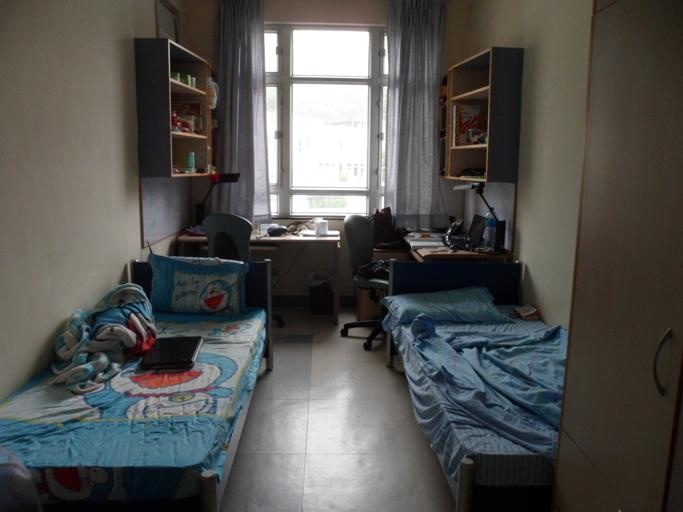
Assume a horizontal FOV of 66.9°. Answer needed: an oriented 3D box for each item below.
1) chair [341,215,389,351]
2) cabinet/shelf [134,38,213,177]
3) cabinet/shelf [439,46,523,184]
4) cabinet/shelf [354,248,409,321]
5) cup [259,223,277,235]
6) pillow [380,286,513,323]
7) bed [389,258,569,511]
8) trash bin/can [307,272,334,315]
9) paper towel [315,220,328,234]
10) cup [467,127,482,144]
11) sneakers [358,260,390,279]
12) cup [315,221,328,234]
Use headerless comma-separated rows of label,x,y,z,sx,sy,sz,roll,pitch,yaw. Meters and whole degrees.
chair,0.181,0.176,4.356,0.391,0.995,0.796,2,13,4
cabinet/shelf,-1.288,-1.099,3.887,0.171,0.691,1.110,-1,15,-3
cabinet/shelf,1.109,-1.103,4.175,0.359,1.015,0.974,0,13,-2
cabinet/shelf,0.311,0.222,4.111,0.403,0.886,0.465,2,25,0
cup,-0.702,-0.257,4.808,0.147,0.112,0.109,-1,4,-15
pillow,0.679,0.343,3.433,0.519,0.159,0.339,-5,23,-9
bed,0.694,0.583,2.737,0.679,0.568,1.293,0,20,1
trash bin/can,-0.187,0.358,4.920,0.311,0.392,0.319,1,10,2
paper towel,-0.182,-0.256,4.649,0.074,0.094,0.116,1,-1,-44
cup,1.102,-0.993,4.276,0.156,0.176,0.092,0,2,6
sneakers,0.265,0.120,4.298,0.183,0.075,0.150,1,11,-4
cup,-0.191,-0.249,4.642,0.112,0.093,0.089,-2,9,-12
